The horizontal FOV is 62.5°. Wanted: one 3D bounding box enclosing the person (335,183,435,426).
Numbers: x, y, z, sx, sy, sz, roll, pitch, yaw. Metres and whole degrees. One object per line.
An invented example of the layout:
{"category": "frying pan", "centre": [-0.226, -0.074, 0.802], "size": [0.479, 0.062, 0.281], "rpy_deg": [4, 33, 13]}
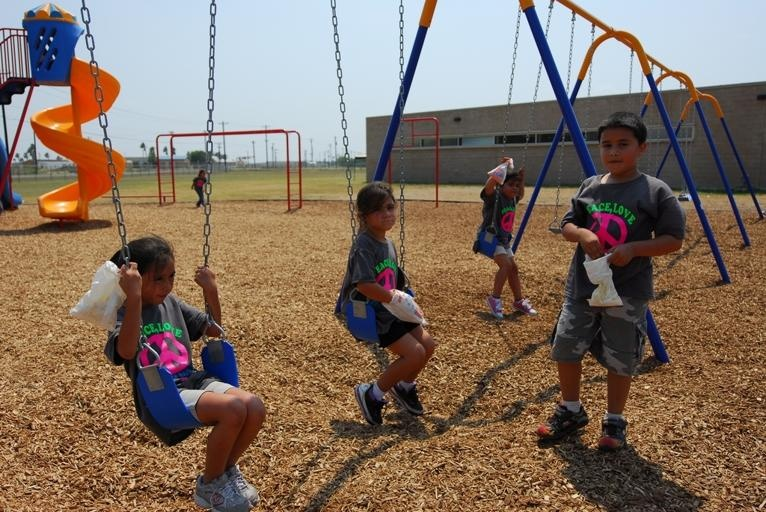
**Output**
{"category": "person", "centre": [0.040, 0.303, 4.370], "size": [0.645, 1.589, 0.509], "rpy_deg": [1, 10, -3]}

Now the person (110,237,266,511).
{"category": "person", "centre": [-1.112, 0.687, 3.608], "size": [0.924, 1.552, 0.606], "rpy_deg": [8, 11, 31]}

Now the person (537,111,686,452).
{"category": "person", "centre": [1.470, 0.138, 3.993], "size": [0.729, 2.068, 0.652], "rpy_deg": [7, 11, 25]}

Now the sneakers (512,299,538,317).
{"category": "sneakers", "centre": [1.337, 0.473, 5.912], "size": [0.101, 0.109, 0.255], "rpy_deg": [-16, 19, -42]}

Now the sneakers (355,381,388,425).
{"category": "sneakers", "centre": [-0.082, 0.983, 4.299], "size": [0.212, 0.275, 0.165], "rpy_deg": [0, 10, -10]}
